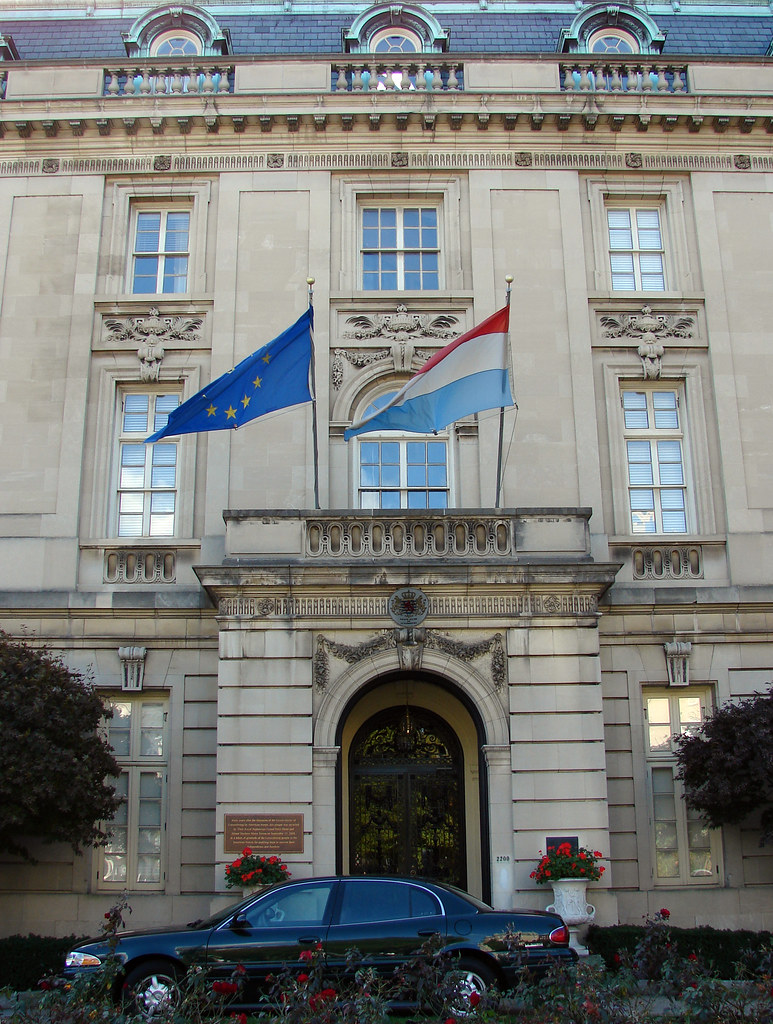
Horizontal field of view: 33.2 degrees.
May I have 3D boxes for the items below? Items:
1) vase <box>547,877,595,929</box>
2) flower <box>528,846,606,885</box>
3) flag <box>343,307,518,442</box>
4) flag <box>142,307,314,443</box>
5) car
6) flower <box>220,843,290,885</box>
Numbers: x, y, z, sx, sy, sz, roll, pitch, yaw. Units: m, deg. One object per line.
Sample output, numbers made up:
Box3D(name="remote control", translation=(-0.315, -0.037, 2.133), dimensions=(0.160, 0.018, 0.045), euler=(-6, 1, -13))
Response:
Box3D(name="vase", translation=(2.542, 5.366, 17.584), dimensions=(0.845, 0.751, 0.760), euler=(0, -14, -1))
Box3D(name="flower", translation=(2.458, 4.813, 17.615), dimensions=(0.750, 0.479, 0.694), euler=(0, -12, -5))
Box3D(name="flag", translation=(0.704, -2.081, 20.489), dimensions=(2.829, 1.942, 0.220), euler=(-2, -2, -4))
Box3D(name="flag", translation=(-2.461, -2.137, 20.678), dimensions=(2.693, 1.691, 0.195), euler=(-7, 5, -16))
Box3D(name="car", translation=(-0.540, 4.343, 13.005), dimensions=(4.784, 1.332, 1.476), euler=(-2, -21, 5))
Box3D(name="flower", translation=(-1.759, 4.803, 17.369), dimensions=(0.665, 0.421, 0.637), euler=(2, -9, -1))
